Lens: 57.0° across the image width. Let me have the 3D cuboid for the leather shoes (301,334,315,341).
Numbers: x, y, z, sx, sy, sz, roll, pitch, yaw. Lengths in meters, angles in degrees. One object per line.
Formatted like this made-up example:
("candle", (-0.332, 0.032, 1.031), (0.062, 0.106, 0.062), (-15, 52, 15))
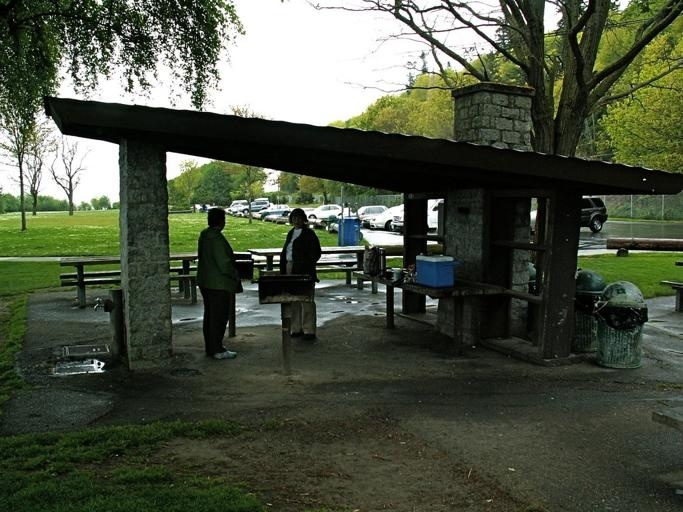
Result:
("leather shoes", (-0.577, 1.409, 10.911), (0.226, 0.093, 0.090), (10, -10, -42))

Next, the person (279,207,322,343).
("person", (-0.709, 0.305, 10.771), (0.687, 2.265, 0.906), (-1, 11, -5))

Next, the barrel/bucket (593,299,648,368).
("barrel/bucket", (4.188, 1.105, 9.532), (0.808, 1.029, 0.813), (3, 3, 0))

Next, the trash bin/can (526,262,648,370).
("trash bin/can", (3.708, 0.979, 9.698), (1.094, 1.320, 1.566), (-1, 3, -29))

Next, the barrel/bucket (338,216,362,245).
("barrel/bucket", (0.349, -0.848, 21.201), (0.941, 1.222, 0.728), (-3, 8, -18))

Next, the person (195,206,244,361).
("person", (-1.926, 0.418, 9.741), (0.625, 2.305, 0.623), (-1, 11, -5))

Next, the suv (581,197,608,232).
("suv", (13.226, -2.192, 33.010), (1.121, 1.803, 1.983), (6, 12, 26))

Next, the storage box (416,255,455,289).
("storage box", (1.509, 0.225, 9.964), (0.400, 0.449, 0.677), (-2, 4, -25))

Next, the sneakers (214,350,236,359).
("sneakers", (-1.811, 1.537, 9.795), (0.338, 0.135, 0.119), (-2, 3, -12))
